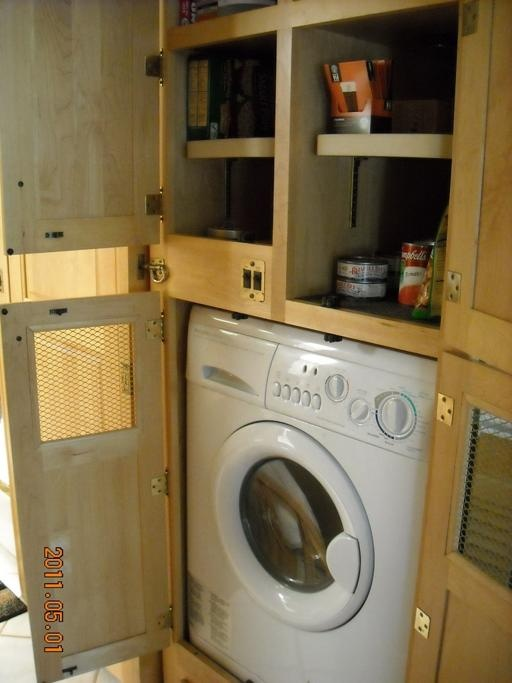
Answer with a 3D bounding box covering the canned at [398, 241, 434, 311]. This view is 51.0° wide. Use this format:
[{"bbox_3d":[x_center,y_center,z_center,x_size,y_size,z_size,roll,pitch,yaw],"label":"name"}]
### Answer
[{"bbox_3d":[0.309,-0.133,1.057,0.054,0.128,0.088,6,10,15],"label":"canned"}]
